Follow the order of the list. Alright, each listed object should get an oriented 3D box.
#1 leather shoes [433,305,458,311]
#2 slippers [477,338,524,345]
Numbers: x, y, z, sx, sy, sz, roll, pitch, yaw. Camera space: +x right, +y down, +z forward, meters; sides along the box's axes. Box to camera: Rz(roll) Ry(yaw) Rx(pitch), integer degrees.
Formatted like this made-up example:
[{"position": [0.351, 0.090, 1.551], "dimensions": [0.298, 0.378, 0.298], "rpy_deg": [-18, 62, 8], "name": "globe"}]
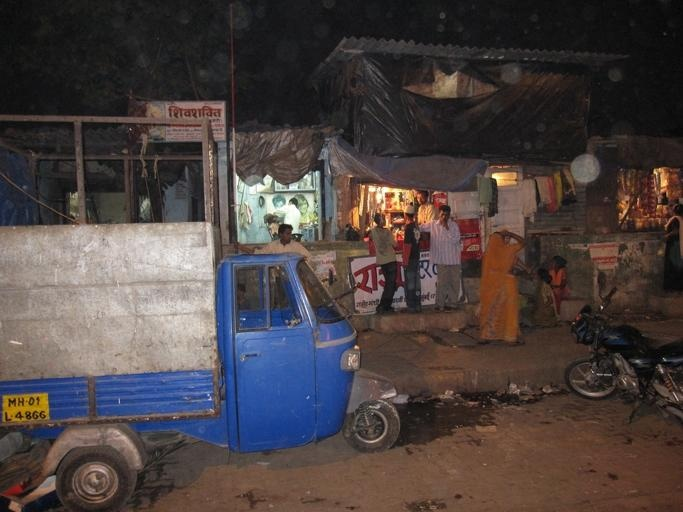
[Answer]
[{"position": [2.123, 1.027, 16.508], "dimensions": [0.444, 0.194, 0.151], "rpy_deg": [-2, 3, -1], "name": "leather shoes"}, {"position": [2.989, 1.582, 15.261], "dimensions": [0.860, 0.118, 0.286], "rpy_deg": [-2, 1, 18], "name": "slippers"}]
